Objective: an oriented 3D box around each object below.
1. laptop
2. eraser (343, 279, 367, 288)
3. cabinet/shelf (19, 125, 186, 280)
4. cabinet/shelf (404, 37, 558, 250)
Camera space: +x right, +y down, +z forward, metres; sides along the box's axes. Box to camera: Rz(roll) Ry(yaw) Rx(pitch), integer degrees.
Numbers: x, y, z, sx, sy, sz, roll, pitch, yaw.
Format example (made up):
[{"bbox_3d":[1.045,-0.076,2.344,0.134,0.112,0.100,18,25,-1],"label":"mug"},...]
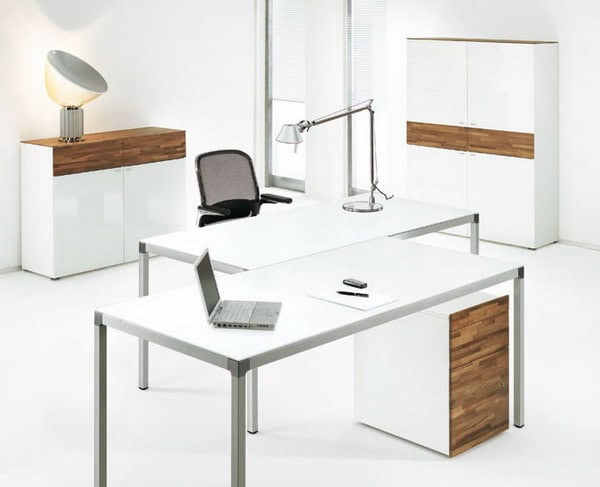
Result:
[{"bbox_3d":[-0.219,0.132,2.086,0.250,0.262,0.215,2,-78,6],"label":"laptop"},{"bbox_3d":[0.226,0.158,2.410,0.042,0.071,0.018,-15,-70,-47],"label":"eraser"},{"bbox_3d":[-1.832,-0.347,5.244,1.219,0.404,0.990,-16,-71,-52],"label":"cabinet/shelf"},{"bbox_3d":[1.922,-1.129,6.256,0.483,1.532,2.001,-19,-66,-32],"label":"cabinet/shelf"}]
